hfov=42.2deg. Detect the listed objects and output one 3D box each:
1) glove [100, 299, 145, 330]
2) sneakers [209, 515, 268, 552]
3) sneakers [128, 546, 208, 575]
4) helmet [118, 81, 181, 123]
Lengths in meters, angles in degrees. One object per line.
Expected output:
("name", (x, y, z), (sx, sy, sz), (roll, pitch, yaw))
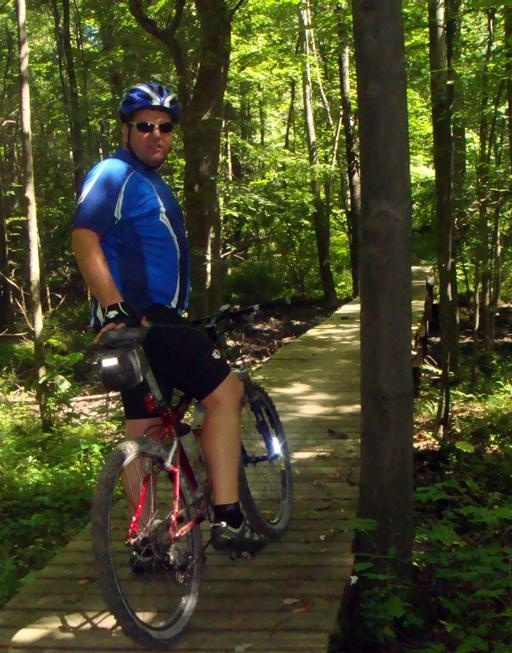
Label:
("glove", (-0.500, -0.040, 2.452), (0.111, 0.033, 0.136), (9, 15, -12))
("sneakers", (-0.082, 0.849, 2.652), (0.103, 0.122, 0.280), (-6, -18, 40))
("sneakers", (-0.343, 0.923, 2.589), (0.292, 0.083, 0.148), (2, -10, 0))
("helmet", (-0.459, -0.962, 2.906), (0.252, 0.140, 0.298), (3, 8, -28))
